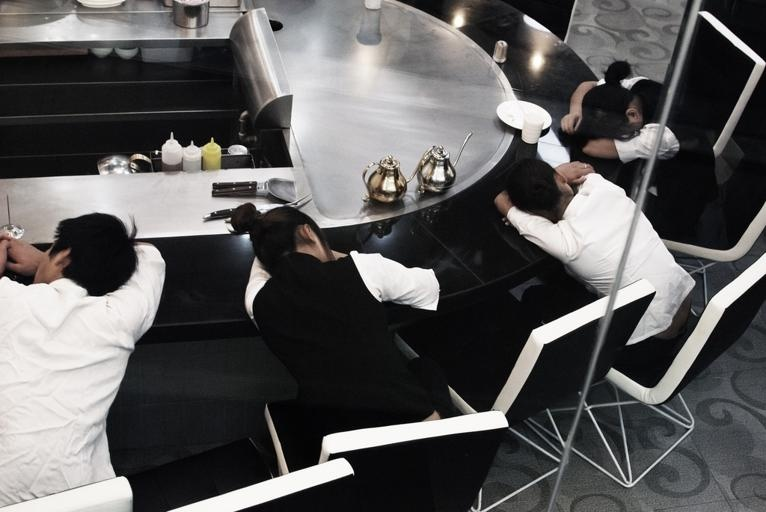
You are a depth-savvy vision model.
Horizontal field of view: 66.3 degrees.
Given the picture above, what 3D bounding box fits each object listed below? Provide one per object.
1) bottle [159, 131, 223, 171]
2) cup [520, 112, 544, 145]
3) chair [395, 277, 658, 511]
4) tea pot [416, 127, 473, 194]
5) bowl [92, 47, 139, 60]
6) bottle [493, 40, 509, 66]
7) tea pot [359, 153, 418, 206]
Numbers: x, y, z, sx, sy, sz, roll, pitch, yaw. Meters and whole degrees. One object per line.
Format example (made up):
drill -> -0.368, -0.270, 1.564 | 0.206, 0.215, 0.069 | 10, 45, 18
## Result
bottle -> -0.593, -0.311, 1.804 | 0.181, 0.103, 0.103 | -5, 33, -14
cup -> 0.519, -0.446, 2.035 | 0.073, 0.082, 0.111 | 12, 33, 13
chair -> 0.371, 0.363, 1.567 | 0.318, 0.539, 0.437 | -29, 57, -19
tea pot -> 0.194, -0.301, 1.811 | 0.090, 0.110, 0.229 | 25, 44, 23
bowl -> -1.057, -0.808, 2.315 | 0.105, 0.040, 0.076 | -5, 33, -8
bottle -> 0.492, -0.866, 2.455 | 0.063, 0.078, 0.151 | 9, 32, 8
tea pot -> -0.012, -0.228, 1.772 | 0.190, 0.138, 0.115 | -11, 51, -15
